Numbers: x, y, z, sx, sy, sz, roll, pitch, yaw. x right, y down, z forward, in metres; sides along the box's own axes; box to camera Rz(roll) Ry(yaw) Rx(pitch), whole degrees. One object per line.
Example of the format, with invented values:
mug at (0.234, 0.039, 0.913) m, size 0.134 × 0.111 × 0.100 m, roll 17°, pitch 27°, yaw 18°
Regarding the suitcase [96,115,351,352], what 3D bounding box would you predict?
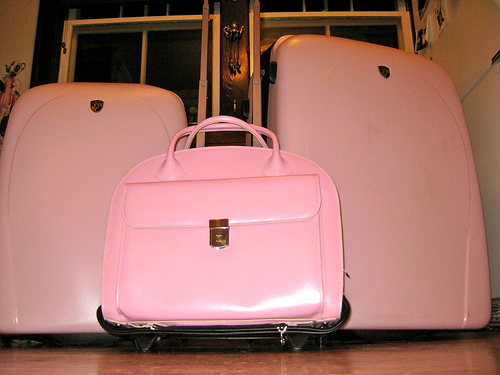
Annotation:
suitcase at (-0.059, 0.143, 1.312) m, size 0.608 × 0.635 × 0.233 m, roll 0°, pitch -14°, yaw 1°
